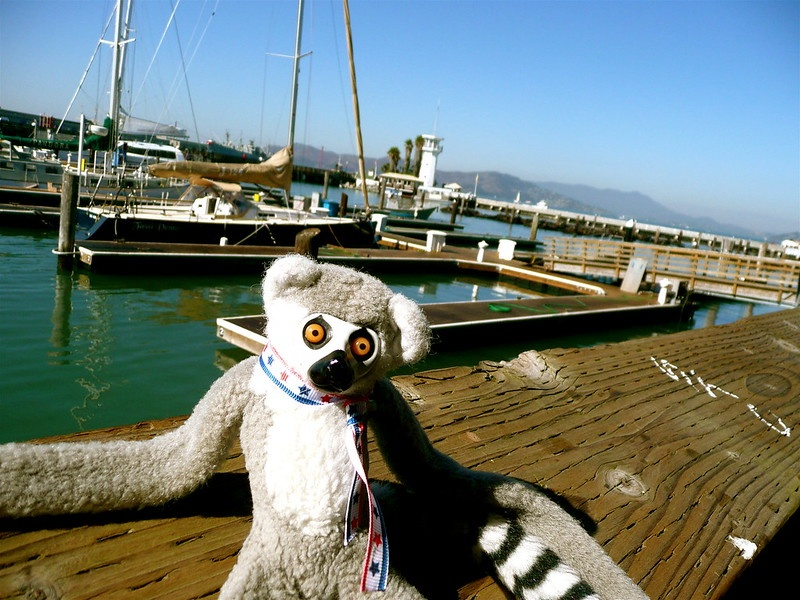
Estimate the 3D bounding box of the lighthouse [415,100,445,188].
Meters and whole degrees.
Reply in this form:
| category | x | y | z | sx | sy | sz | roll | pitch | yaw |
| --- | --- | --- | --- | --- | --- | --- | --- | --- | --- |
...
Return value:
| category | x | y | z | sx | sy | sz | roll | pitch | yaw |
| --- | --- | --- | --- | --- | --- | --- | --- | --- | --- |
| lighthouse | 4.156 | -19.290 | 63.652 | 3.117 | 9.578 | 2.946 | 11 | 26 | 8 |

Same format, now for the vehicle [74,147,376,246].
| category | x | y | z | sx | sy | sz | roll | pitch | yaw |
| --- | --- | --- | --- | --- | --- | --- | --- | --- | --- |
| vehicle | -3.676 | -2.187 | 13.445 | 8.121 | 2.980 | 2.831 | -4 | 19 | -28 |
